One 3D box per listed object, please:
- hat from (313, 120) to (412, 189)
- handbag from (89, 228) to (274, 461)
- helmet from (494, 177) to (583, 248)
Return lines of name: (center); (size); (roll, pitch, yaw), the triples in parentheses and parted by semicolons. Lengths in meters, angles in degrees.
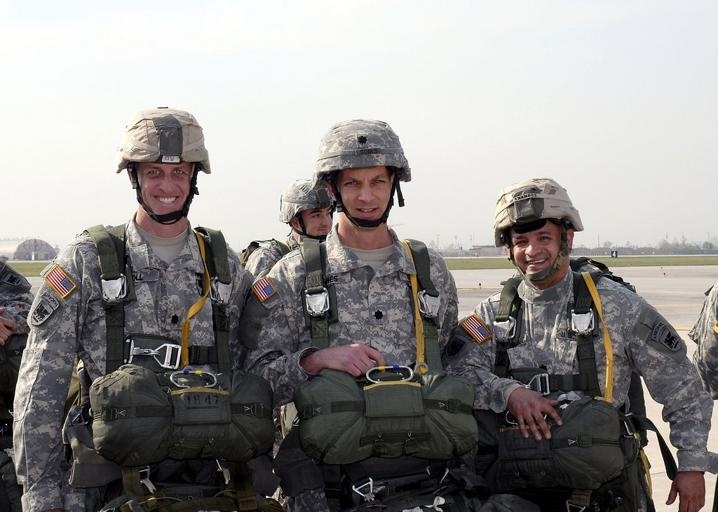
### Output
hat: (0.014, -0.743, 5.181); (0.661, 0.414, 0.320); (-3, -5, -3)
handbag: (-1.166, 0.590, 4.712); (1.223, 1.627, 0.878); (3, -32, -27)
helmet: (1.272, -0.291, 5.346); (0.451, 0.381, 0.450); (-13, 1, 13)
